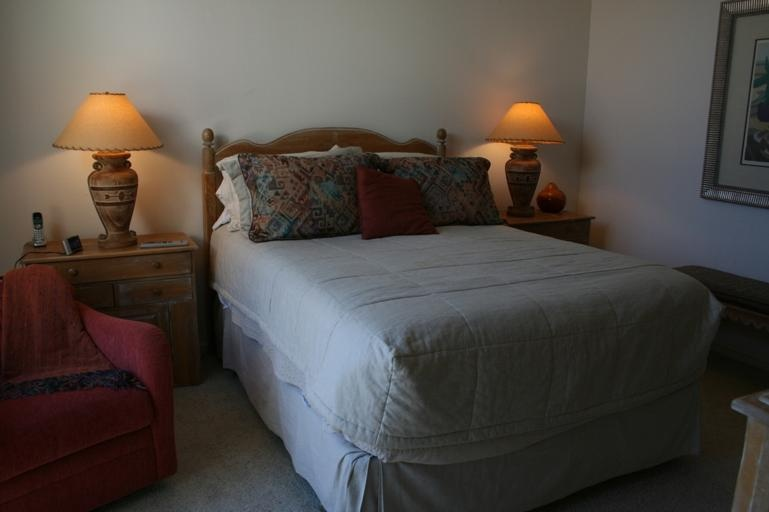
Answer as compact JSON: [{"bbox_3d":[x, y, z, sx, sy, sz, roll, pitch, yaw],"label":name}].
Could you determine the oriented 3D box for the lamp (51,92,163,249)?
[{"bbox_3d":[-1.733,-0.526,3.522,0.617,0.944,0.615,-7,11,-40],"label":"lamp"}]

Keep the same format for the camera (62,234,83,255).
[{"bbox_3d":[-1.913,-0.063,3.370,0.115,0.085,0.121,-6,10,13],"label":"camera"}]
